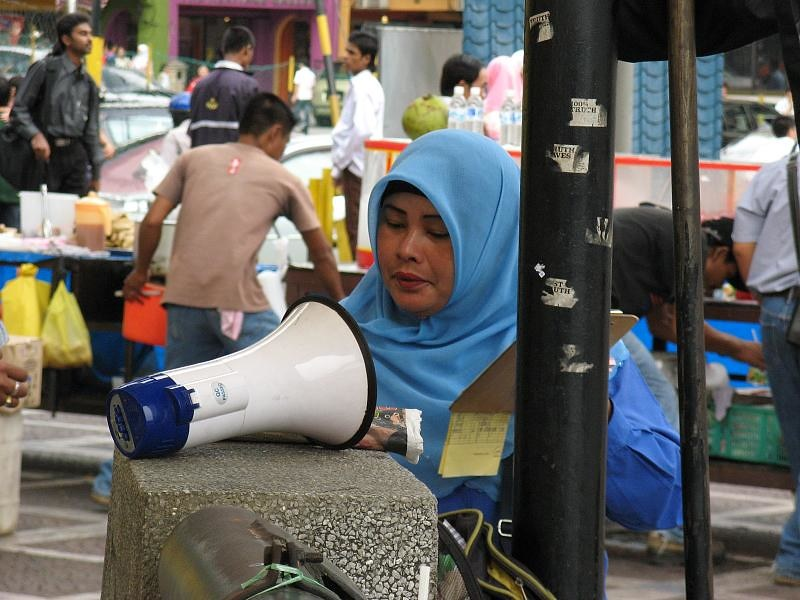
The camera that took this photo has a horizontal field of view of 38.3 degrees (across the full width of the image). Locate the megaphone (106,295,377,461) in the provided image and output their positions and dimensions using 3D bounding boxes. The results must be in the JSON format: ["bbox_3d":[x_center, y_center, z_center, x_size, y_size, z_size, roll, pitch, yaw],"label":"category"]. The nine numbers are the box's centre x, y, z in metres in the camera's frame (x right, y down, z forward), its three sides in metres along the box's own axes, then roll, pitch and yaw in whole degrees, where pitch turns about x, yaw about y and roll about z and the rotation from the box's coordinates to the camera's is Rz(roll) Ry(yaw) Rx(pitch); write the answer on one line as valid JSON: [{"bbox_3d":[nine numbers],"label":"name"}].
[{"bbox_3d":[-0.387,0.202,2.715,0.504,0.399,0.356,-10,-12,-37],"label":"megaphone"}]

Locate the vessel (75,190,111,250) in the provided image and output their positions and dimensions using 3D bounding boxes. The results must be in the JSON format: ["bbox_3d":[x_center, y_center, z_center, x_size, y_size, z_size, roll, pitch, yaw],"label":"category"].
[{"bbox_3d":[-1.889,-0.484,7.127,0.226,0.389,0.209,1,2,-15],"label":"vessel"}]

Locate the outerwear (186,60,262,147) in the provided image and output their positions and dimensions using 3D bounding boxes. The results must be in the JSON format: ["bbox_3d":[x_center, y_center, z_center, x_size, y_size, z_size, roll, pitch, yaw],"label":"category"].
[{"bbox_3d":[-1.320,-1.384,8.693,0.560,0.784,0.423,4,5,18],"label":"outerwear"}]

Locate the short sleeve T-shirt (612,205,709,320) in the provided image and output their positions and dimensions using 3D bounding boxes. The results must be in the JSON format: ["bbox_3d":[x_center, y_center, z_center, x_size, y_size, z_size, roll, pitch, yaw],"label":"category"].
[{"bbox_3d":[0.911,-0.145,4.190,0.384,0.404,0.227,16,22,41],"label":"short sleeve T-shirt"}]

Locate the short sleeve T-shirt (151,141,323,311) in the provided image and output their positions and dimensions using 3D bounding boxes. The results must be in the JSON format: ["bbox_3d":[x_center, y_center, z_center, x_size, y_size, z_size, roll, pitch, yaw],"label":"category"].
[{"bbox_3d":[-0.862,-0.371,6.062,0.960,1.000,0.540,10,13,8],"label":"short sleeve T-shirt"}]

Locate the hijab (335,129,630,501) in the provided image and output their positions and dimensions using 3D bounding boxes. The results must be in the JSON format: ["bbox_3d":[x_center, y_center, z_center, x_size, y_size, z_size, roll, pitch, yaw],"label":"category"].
[{"bbox_3d":[0.092,0.040,3.542,0.623,1.049,0.584,7,-3,-23],"label":"hijab"}]

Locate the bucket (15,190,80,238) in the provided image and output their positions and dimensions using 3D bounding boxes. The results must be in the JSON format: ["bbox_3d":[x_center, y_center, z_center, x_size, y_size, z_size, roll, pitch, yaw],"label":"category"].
[{"bbox_3d":[-2.264,-0.556,7.539,0.387,0.301,0.284,-2,-1,-3],"label":"bucket"}]

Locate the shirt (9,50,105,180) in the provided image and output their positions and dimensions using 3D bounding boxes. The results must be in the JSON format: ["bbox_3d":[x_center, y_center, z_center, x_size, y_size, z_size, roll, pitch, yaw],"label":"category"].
[{"bbox_3d":[-2.739,-1.446,9.261,0.740,1.023,0.476,7,-7,-40],"label":"shirt"}]
